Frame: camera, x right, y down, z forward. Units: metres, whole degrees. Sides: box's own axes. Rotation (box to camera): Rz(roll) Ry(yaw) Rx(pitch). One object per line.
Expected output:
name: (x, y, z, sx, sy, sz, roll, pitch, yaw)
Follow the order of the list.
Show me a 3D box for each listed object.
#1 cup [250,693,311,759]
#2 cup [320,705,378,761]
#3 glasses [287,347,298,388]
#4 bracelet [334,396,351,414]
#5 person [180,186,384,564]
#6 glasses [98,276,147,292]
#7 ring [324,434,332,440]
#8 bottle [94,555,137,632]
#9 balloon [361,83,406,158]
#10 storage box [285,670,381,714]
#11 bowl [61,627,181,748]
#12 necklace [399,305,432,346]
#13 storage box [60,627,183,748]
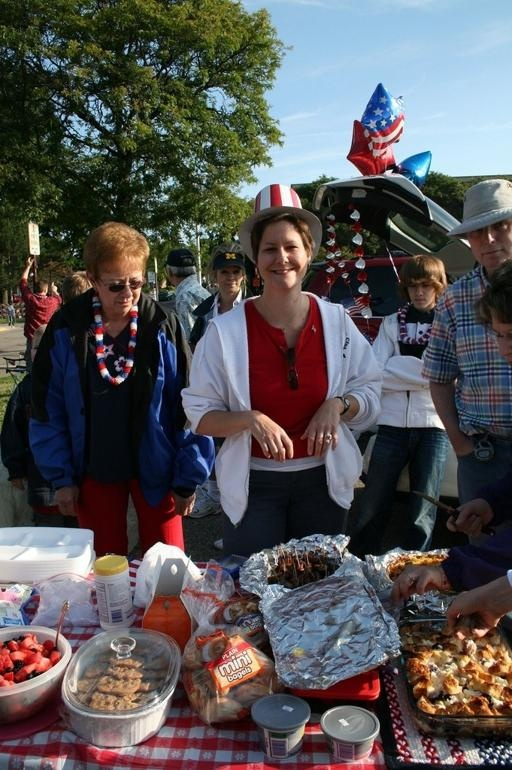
cup: (0.049, 0.683, 1.222, 0.116, 0.088, 0.139, -1, 8, -1)
cup: (0.187, 0.691, 1.208, 0.112, 0.066, 0.129, 3, 9, 25)
glasses: (0.118, -0.053, 1.977, 0.041, 0.107, 0.060, 4, 48, 7)
bracelet: (0.285, 0.068, 1.996, 0.027, 0.039, 0.042, 26, 35, -33)
person: (0.087, 0.049, 2.128, 0.596, 1.302, 0.611, 0, 3, 0)
glasses: (-0.475, -0.365, 2.227, 0.067, 0.051, 0.151, 7, 11, 41)
ring: (0.227, 0.165, 1.923, 0.023, 0.030, 0.023, -1, 9, 0)
bottle: (-0.375, 0.551, 1.632, 0.116, 0.176, 0.066, 1, 9, 9)
balloon: (1.082, -2.235, 5.159, 0.380, 0.578, 0.172, -5, 10, -26)
storage box: (0.162, 0.644, 1.275, 0.134, 0.034, 0.130, -1, -5, -6)
bowl: (-0.306, 0.674, 1.405, 0.271, 0.160, 0.417, 1, 10, -2)
necklace: (0.872, -0.313, 3.355, 0.174, 0.216, 0.089, -3, -25, 6)
storage box: (-0.292, 0.662, 1.312, 0.223, 0.109, 0.356, -5, 8, -23)
